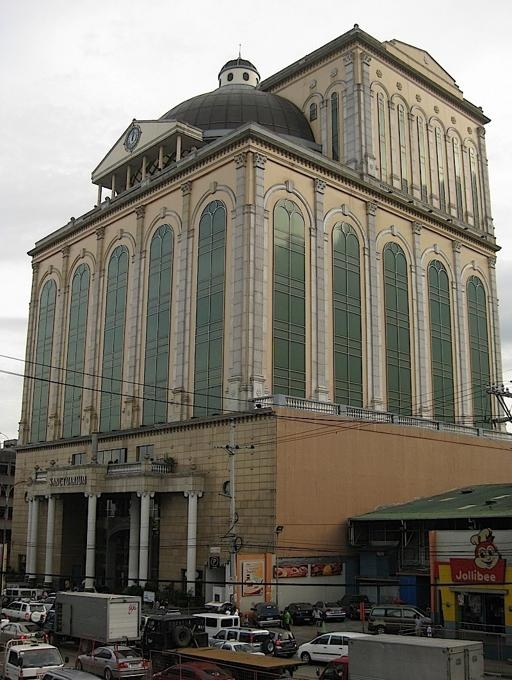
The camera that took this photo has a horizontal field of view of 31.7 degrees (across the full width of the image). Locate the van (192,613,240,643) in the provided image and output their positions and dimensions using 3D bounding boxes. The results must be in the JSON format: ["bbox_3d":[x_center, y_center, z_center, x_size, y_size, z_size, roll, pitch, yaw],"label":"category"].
[{"bbox_3d":[-1.983,13.872,43.603,2.236,1.156,1.271,-9,-22,28],"label":"van"}]
